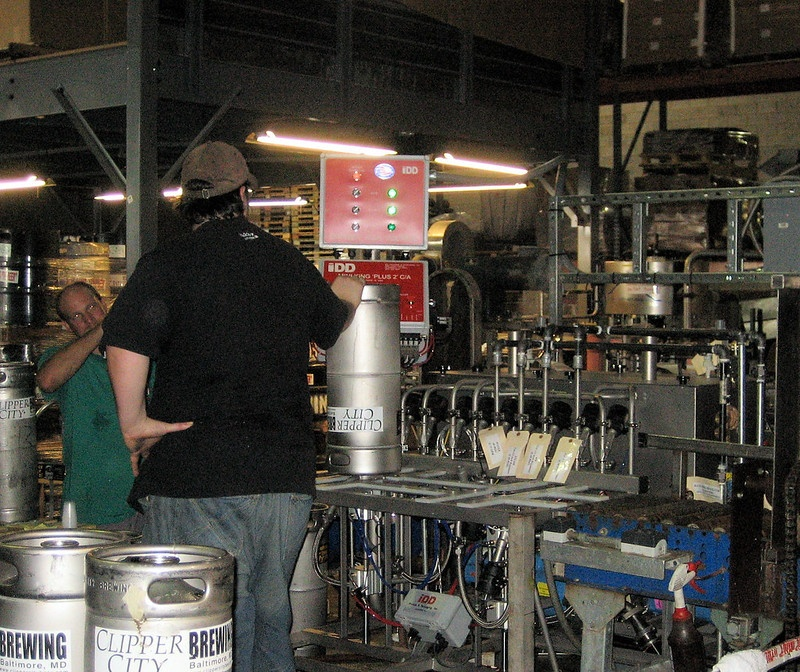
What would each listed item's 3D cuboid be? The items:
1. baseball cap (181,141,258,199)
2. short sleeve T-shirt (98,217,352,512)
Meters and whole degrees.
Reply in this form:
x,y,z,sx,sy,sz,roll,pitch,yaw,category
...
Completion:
x,y,z,sx,sy,sz,roll,pitch,yaw,category
-0.655,-0.609,4.269,0.183,0.147,0.250,11,23,33,baseball cap
-0.599,0.060,4.329,0.994,0.942,0.515,-1,-1,-40,short sleeve T-shirt
